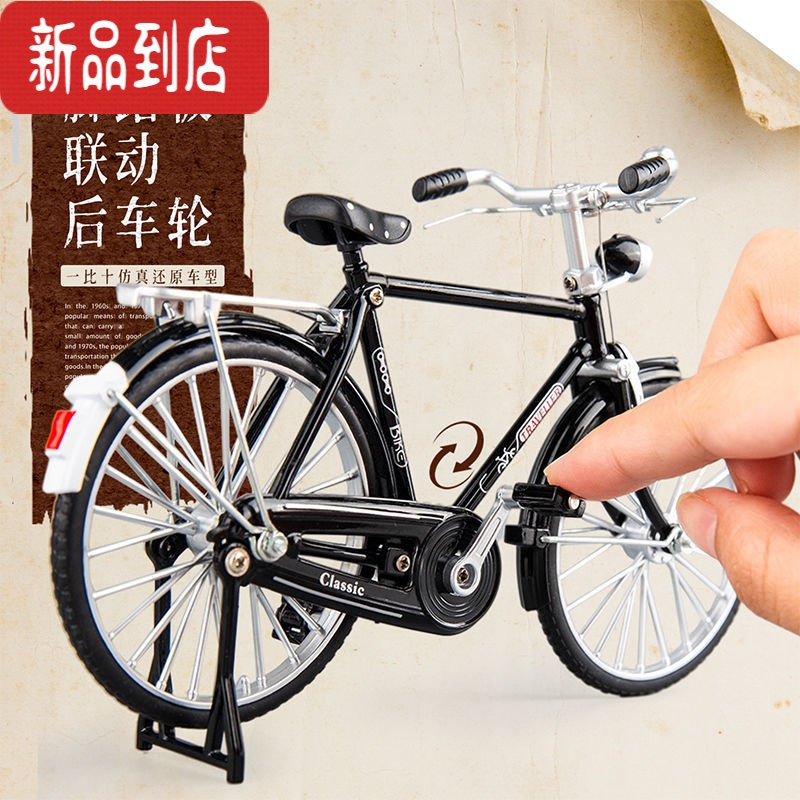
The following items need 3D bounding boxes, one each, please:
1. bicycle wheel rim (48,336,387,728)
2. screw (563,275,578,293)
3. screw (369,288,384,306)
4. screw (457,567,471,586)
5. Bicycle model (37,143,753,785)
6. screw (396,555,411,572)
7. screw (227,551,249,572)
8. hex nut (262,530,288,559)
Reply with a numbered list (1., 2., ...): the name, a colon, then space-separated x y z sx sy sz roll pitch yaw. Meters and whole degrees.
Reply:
1. bicycle wheel rim: -0.357 0.301 2.412 0.829 0.195 0.863 -8 99 -28
2. screw: 0.378 -0.257 2.616 0.012 0.032 0.035 -6 105 -40
3. screw: -0.045 -0.208 2.385 0.036 0.041 0.032 -2 62 -10
4. screw: 0.131 0.360 2.403 0.032 0.011 0.032 -2 98 -31
5. Bicycle model: 0.121 0.128 2.587 1.796 0.864 1.206 0 90 -35
6. screw: 0.005 0.331 2.383 0.031 0.016 0.030 -7 88 -29
7. screw: -0.298 0.299 2.161 0.039 0.039 0.038 -1 95 -39
8. hex nut: -0.232 0.266 2.185 0.056 0.019 0.050 5 91 -37
